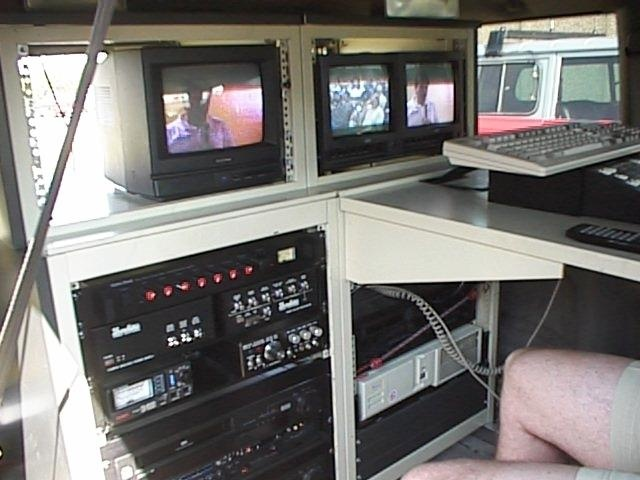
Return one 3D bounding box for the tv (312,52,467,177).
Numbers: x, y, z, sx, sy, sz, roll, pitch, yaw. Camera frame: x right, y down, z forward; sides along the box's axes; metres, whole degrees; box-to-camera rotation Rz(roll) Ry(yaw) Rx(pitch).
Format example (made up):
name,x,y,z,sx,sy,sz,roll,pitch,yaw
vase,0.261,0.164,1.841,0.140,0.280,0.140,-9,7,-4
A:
name,x,y,z,sx,sy,sz,roll,pitch,yaw
tv,0.223,-0.439,1.814,0.416,0.263,0.223,-15,21,-31
